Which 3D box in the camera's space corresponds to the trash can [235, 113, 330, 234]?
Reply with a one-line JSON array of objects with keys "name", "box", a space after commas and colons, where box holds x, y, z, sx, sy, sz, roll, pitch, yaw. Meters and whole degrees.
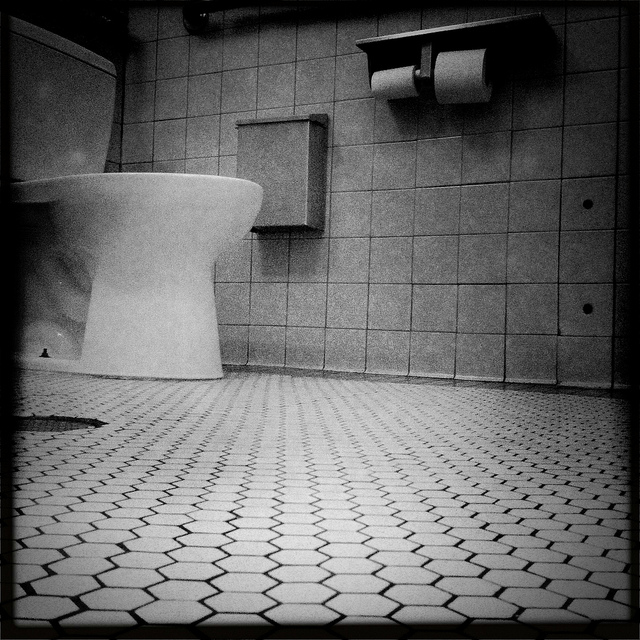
[{"name": "trash can", "box": [-0.172, -0.680, 2.933, 0.369, 0.545, 0.237, 2, 1, 29]}]

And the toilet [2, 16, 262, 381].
[{"name": "toilet", "box": [-0.768, -0.407, 2.303, 1.069, 1.212, 0.482, 2, 1, 25]}]

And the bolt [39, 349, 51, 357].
[{"name": "bolt", "box": [-1.063, 0.125, 2.490, 0.024, 0.026, 0.022, 0, -6, 17]}]

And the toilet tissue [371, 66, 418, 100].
[{"name": "toilet tissue", "box": [0.299, -0.958, 2.611, 0.159, 0.118, 0.116, -2, -34, 16]}]
